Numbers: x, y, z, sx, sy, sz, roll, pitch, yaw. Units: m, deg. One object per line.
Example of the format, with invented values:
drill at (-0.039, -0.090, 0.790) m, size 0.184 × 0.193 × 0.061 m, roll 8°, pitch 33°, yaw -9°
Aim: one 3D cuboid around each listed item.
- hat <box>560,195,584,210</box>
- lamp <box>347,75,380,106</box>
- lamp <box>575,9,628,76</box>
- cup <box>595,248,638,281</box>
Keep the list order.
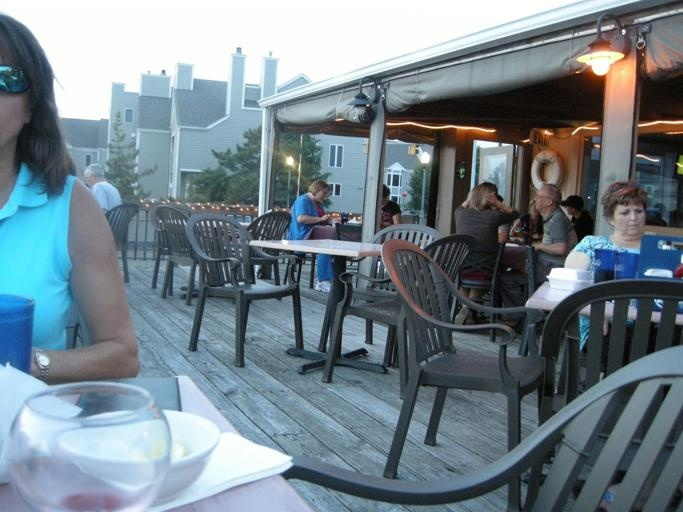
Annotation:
hat at (3.442, -0.819, 7.646) m, size 0.384 × 0.223 × 0.279 m, roll 15°, pitch 14°, yaw 30°
lamp at (0.296, -2.131, 6.738) m, size 0.379 × 0.402 × 0.400 m, roll 2°, pitch 3°, yaw -20°
lamp at (2.035, -1.661, 3.916) m, size 0.407 × 0.469 × 0.317 m, roll -1°, pitch 3°, yaw -17°
cup at (1.313, 0.045, 2.406) m, size 0.074 × 0.136 × 0.140 m, roll -2°, pitch 4°, yaw -45°
